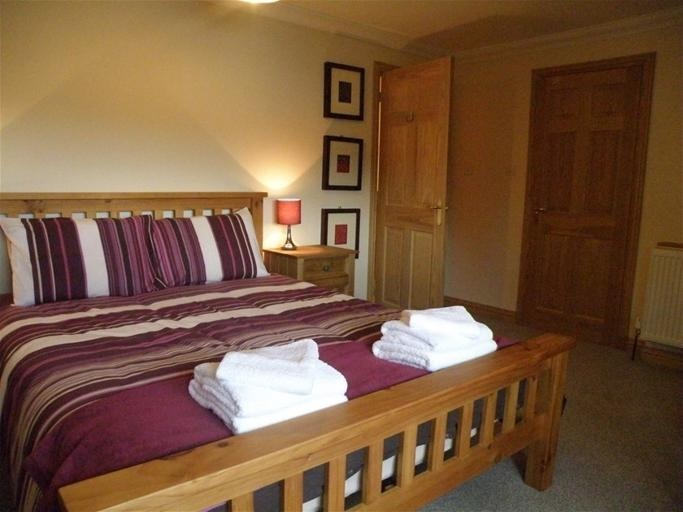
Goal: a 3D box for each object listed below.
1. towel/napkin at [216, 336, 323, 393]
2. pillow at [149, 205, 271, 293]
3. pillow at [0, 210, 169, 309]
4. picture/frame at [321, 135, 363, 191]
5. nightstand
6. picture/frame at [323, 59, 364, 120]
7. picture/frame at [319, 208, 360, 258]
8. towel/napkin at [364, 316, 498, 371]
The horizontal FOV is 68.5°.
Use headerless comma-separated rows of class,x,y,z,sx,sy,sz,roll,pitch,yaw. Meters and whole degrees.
towel/napkin,-0.216,0.371,1.670,0.208,0.057,0.189,4,5,9
pillow,-0.867,-0.056,3.131,0.669,0.443,0.150,-6,-17,-36
pillow,-1.444,0.042,2.775,0.637,0.342,0.164,0,-26,-37
picture/frame,-0.011,-0.812,4.351,0.542,0.464,0.070,-9,12,-37
nightstand,-0.231,0.016,4.074,0.628,0.561,0.442,-7,11,-42
picture/frame,-0.001,-1.421,4.259,0.622,0.517,0.064,-5,9,-38
picture/frame,-0.033,-0.201,4.340,0.492,0.487,0.056,-5,13,-36
towel/napkin,0.409,0.325,2.058,0.311,0.081,0.248,-5,12,-41
